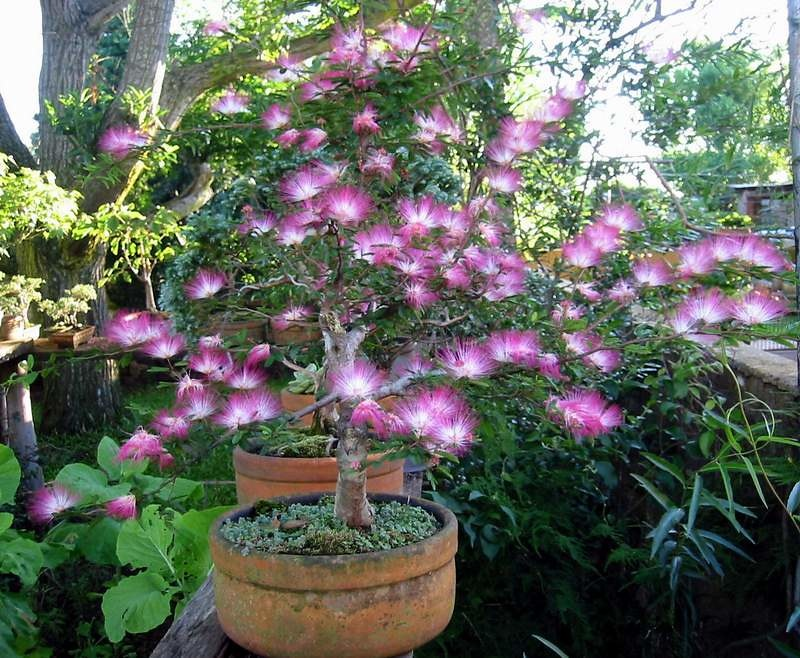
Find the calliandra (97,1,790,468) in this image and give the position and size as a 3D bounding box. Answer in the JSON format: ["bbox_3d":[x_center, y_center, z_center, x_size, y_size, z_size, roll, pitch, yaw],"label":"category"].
[{"bbox_3d":[-0.015,-0.066,1.332,1.208,0.865,1.036,2,10,6],"label":"calliandra"}]

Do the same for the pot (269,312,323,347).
[{"bbox_3d":[-0.393,0.008,2.240,0.187,0.118,0.188,0,-5,0],"label":"pot"}]
